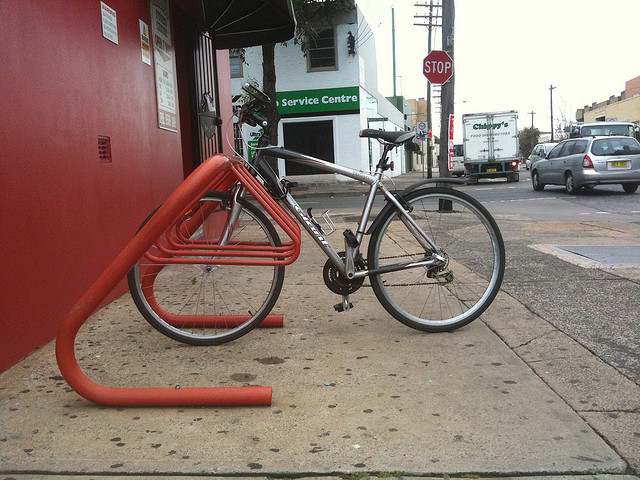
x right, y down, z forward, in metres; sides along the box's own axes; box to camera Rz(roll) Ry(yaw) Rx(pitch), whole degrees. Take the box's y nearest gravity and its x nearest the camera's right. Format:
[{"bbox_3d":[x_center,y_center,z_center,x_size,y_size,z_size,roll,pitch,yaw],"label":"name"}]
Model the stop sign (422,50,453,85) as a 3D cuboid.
[{"bbox_3d":[2.718,-4.000,11.957,0.555,0.747,0.836,6,14,30],"label":"stop sign"}]
